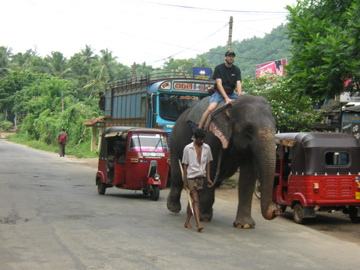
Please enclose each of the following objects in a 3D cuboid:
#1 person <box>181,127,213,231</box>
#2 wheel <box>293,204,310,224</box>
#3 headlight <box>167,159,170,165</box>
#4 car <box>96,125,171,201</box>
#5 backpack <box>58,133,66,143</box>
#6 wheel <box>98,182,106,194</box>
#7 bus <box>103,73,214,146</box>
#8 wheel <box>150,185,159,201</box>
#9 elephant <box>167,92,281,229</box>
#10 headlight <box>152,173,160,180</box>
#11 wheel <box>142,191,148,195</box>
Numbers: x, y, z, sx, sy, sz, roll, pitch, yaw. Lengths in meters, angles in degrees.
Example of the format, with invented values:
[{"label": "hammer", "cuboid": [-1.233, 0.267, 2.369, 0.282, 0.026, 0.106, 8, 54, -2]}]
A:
[{"label": "person", "cuboid": [0.365, 0.891, 8.185, 0.622, 2.177, 1.152, 2, -3, 4]}, {"label": "wheel", "cuboid": [3.043, 1.983, 9.637, 0.188, 0.557, 0.529, 5, -1, -22]}, {"label": "headlight", "cuboid": [-0.386, 0.843, 12.201, 0.071, 0.105, 0.108, 1, -4, 38]}, {"label": "car", "cuboid": [-1.514, 0.943, 13.058, 1.796, 2.251, 3.349, 5, -7, -28]}, {"label": "backpack", "cuboid": [-9.737, 0.314, 31.309, 0.179, 0.704, 0.514, 35, 11, -2]}, {"label": "wheel", "cuboid": [-2.610, 1.756, 12.740, 0.147, 0.437, 0.411, 3, -3, -33]}, {"label": "bus", "cuboid": [-1.601, -1.060, 20.039, 2.875, 4.000, 8.163, 1, 4, -28]}, {"label": "wheel", "cuboid": [-0.801, 1.790, 11.893, 0.153, 0.449, 0.429, 1, -8, -16]}, {"label": "elephant", "cuboid": [0.933, 0.670, 9.031, 1.785, 3.051, 3.882, 1, 0, -33]}, {"label": "headlight", "cuboid": [-0.765, 1.282, 11.733, 0.186, 0.158, 0.372, 1, -2, -2]}, {"label": "wheel", "cuboid": [-1.194, 1.965, 13.108, 0.200, 0.164, 0.214, 4, -3, 0]}]
